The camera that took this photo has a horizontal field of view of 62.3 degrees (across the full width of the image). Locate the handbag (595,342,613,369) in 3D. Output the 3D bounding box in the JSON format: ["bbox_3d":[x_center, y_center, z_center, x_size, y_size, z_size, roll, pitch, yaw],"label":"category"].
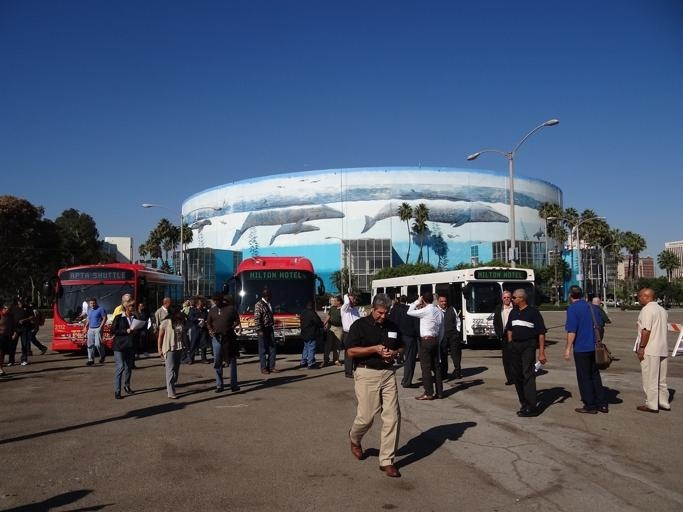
[{"bbox_3d":[4.963,1.881,10.679,0.245,0.544,0.504,-1,-3,28],"label":"handbag"}]

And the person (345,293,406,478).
[{"bbox_3d":[0.491,1.715,7.887,0.797,2.315,0.777,2,1,-7],"label":"person"}]

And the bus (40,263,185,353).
[{"bbox_3d":[-8.193,1.816,20.080,1.512,1.637,4.131,-1,-5,0],"label":"bus"}]

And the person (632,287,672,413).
[{"bbox_3d":[5.873,1.750,10.676,0.613,2.282,0.439,2,-3,-41],"label":"person"}]
